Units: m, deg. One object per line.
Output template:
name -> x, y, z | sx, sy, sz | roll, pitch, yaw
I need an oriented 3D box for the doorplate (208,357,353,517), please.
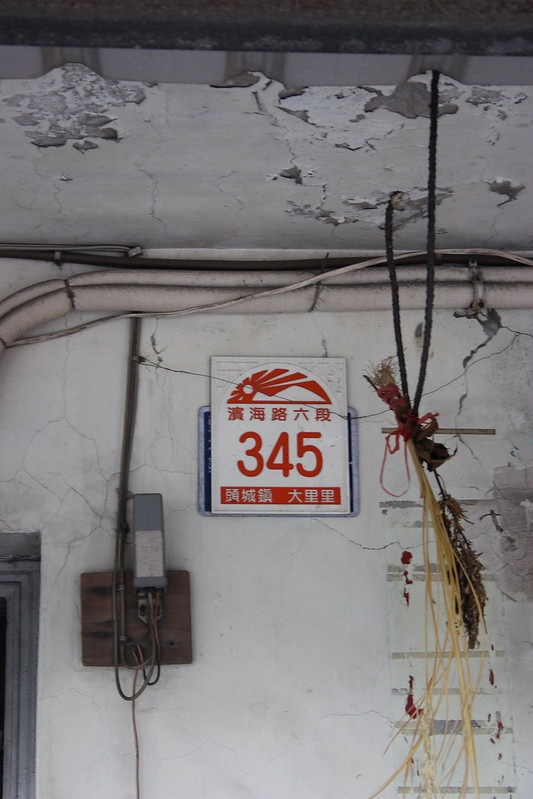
doorplate -> 0.031, 0.146, 3.746 | 0.726, 0.630, 0.030 | 1, -21, -5
